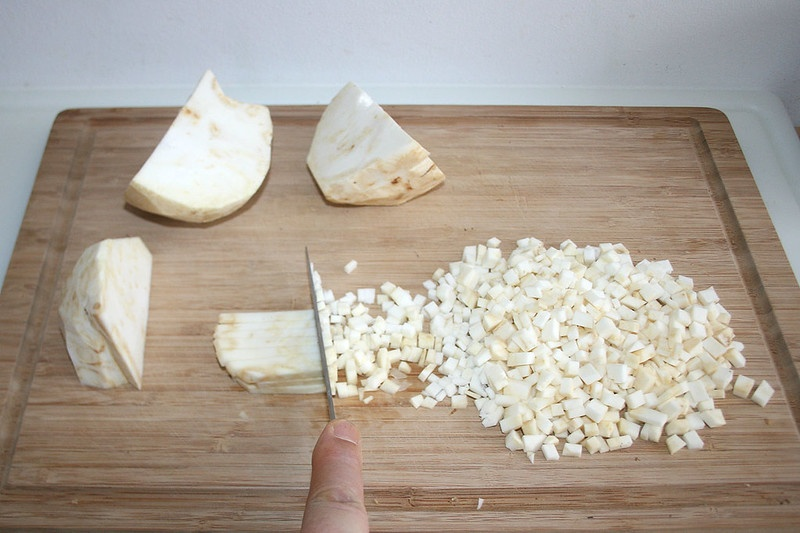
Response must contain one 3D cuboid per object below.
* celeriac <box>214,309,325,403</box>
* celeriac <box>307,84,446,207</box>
[{"bbox_3d":[-0.406,0.258,2.908,0.487,0.120,0.279,9,71,29],"label":"celeriac"},{"bbox_3d":[-0.090,-0.384,3.173,0.377,0.481,0.456,-33,82,8],"label":"celeriac"}]
